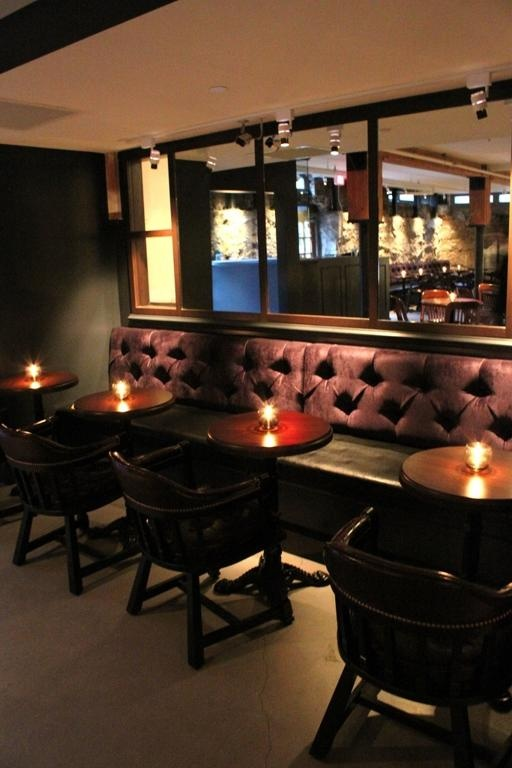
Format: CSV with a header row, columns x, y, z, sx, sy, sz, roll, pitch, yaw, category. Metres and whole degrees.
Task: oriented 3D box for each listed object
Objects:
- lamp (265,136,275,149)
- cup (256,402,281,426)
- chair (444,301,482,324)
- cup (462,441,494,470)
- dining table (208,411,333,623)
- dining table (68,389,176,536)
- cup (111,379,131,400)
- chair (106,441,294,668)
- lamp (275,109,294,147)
x,y,z,sx,sy,sz,roll,pitch,yaw,category
0.084,-1.532,3.741,0.063,0.072,0.079,-2,-12,-1,lamp
0.051,0.138,2.733,0.092,0.107,0.096,1,6,0,cup
2.129,-0.739,6.223,0.332,0.244,0.824,4,11,33,chair
0.792,0.250,2.134,0.091,0.100,0.094,-2,16,1,cup
0.081,0.618,2.668,0.676,0.872,0.664,-5,18,-12,dining table
-0.767,0.256,3.385,0.385,0.377,0.404,2,11,8,dining table
-0.805,0.047,3.538,0.107,0.090,0.126,3,22,2,cup
-0.270,0.628,2.486,0.683,0.842,0.683,-9,11,-36,chair
0.165,-1.484,3.474,0.092,0.185,0.178,-2,9,3,lamp
